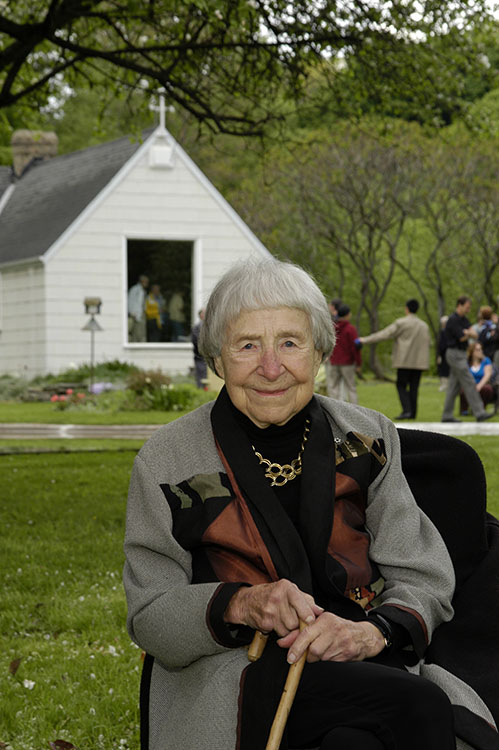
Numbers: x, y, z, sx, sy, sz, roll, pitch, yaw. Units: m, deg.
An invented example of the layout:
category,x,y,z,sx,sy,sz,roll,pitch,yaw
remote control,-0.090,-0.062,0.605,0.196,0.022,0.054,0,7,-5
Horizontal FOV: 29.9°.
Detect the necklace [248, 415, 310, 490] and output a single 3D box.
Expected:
category,x,y,z,sx,sy,sz,roll,pitch,yaw
necklace,0.060,0.182,2.151,0.134,0.150,0.035,-8,-11,-4
